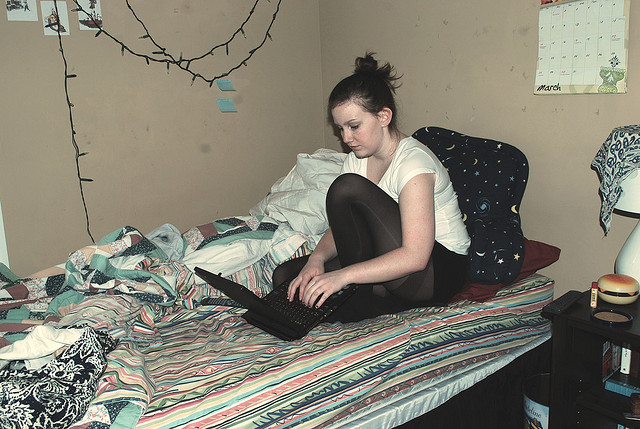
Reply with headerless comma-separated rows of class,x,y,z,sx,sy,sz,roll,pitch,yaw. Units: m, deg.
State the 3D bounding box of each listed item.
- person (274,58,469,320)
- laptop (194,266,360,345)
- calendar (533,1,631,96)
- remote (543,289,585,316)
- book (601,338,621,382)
person,0.241,-0.209,2.645,1.052,1.288,1.090,-8,7,-19
laptop,-0.138,0.379,2.072,0.349,0.220,0.345,-39,29,-27
calendar,1.218,-0.772,2.337,0.076,0.419,0.438,-14,23,-40
remote,0.971,0.348,2.001,0.208,0.049,0.088,-13,22,-41
book,1.175,0.577,2.031,0.158,0.155,0.004,-7,9,-38
